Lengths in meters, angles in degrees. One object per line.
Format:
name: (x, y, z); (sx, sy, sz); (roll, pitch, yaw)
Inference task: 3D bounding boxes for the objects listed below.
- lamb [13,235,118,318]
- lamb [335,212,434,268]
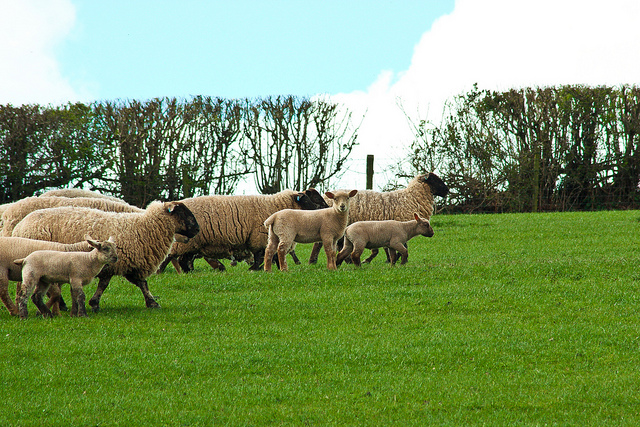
lamb: (-7.144, 1.938, 27.672); (2.751, 2.252, 1.216); (-1, -1, -7)
lamb: (2.268, 0.969, 32.696); (3.418, 1.920, 0.932); (-2, 6, -9)
